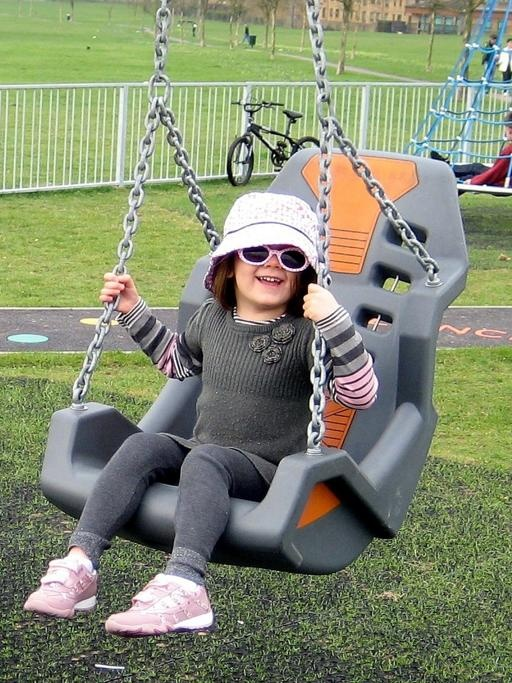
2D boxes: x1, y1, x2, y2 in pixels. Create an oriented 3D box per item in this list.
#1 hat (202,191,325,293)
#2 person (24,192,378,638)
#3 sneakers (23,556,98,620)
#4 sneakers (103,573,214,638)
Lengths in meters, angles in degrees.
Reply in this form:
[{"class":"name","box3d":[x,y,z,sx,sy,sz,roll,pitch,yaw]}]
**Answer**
[{"class":"hat","box3d":[0.024,-0.251,1.892,0.206,0.118,0.248,8,-19,-8]},{"class":"person","box3d":[-0.082,0.075,1.613,0.677,0.758,0.978,8,15,6]},{"class":"sneakers","box3d":[-0.332,0.450,1.374,0.077,0.076,0.179,7,-2,11]},{"class":"sneakers","box3d":[-0.152,0.458,1.329,0.230,0.093,0.080,4,-9,-39]}]
